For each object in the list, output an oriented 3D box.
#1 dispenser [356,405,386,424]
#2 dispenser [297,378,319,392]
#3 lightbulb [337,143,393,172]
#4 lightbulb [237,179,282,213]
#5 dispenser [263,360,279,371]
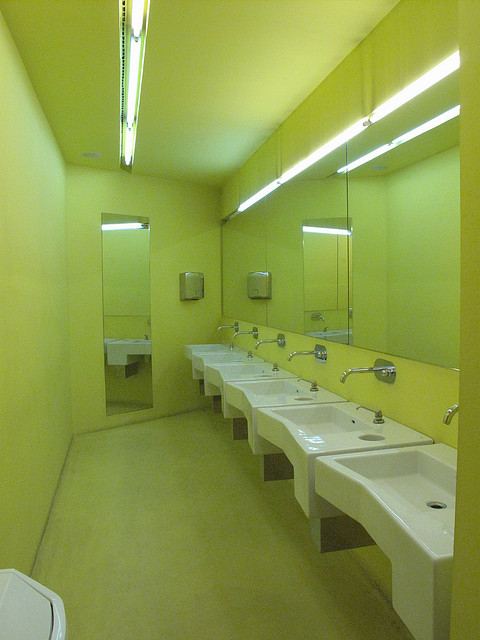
[{"bbox_3d":[0.553,0.400,2.011,0.032,0.047,0.095,-1,1,-30],"label":"dispenser"},{"bbox_3d":[0.398,0.355,2.678,0.031,0.048,0.113,-5,-1,-17],"label":"dispenser"},{"bbox_3d":[0.560,-0.722,2.235,0.031,0.044,0.469,-12,4,-14],"label":"lightbulb"},{"bbox_3d":[0.142,-0.979,3.749,0.034,0.074,0.524,-39,9,-13],"label":"lightbulb"},{"bbox_3d":[0.224,0.319,3.393,0.041,0.069,0.117,2,-7,-15],"label":"dispenser"}]
